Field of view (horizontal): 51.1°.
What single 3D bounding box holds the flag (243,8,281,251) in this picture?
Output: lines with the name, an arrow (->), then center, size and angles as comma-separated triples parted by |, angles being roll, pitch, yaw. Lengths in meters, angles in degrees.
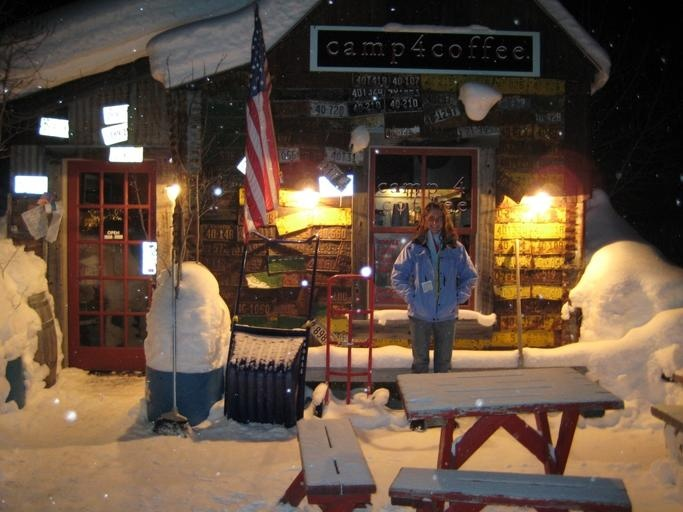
flag -> -0.913, -1.494, 8.158 | 0.500, 2.456, 0.467 | 5, 13, 18

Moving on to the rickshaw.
rickshaw -> -0.870, 0.836, 9.015 | 1.104, 2.248, 1.684 | 1, 3, -2

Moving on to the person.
person -> 1.124, 0.692, 8.622 | 0.940, 2.631, 0.990 | 0, 0, 6
